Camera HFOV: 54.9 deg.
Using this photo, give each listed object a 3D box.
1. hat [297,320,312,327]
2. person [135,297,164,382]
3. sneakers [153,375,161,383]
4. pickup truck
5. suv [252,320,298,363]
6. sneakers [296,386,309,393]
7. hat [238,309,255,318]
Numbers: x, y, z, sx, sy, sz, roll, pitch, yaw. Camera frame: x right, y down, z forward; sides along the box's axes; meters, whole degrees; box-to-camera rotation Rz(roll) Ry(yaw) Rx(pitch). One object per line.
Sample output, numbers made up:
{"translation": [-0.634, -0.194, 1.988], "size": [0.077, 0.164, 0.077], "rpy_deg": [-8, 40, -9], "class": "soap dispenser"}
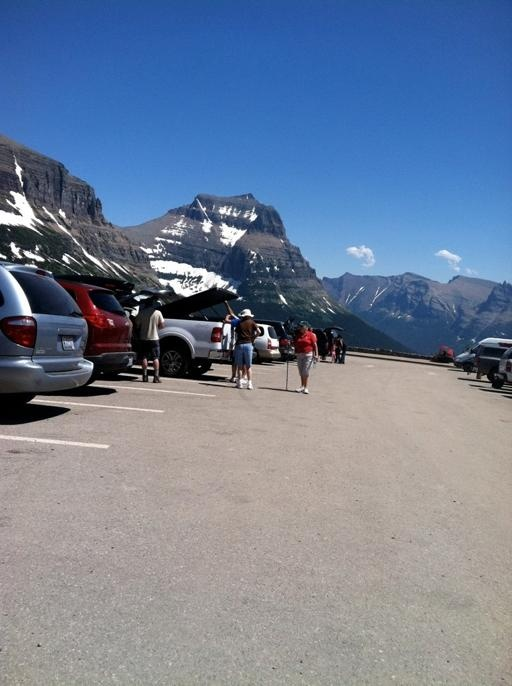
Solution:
{"translation": [1.618, -0.602, 16.149], "size": [0.273, 0.155, 0.492], "rpy_deg": [-1, -17, 31], "class": "hat"}
{"translation": [-2.996, -0.093, 13.834], "size": [0.862, 2.412, 1.177], "rpy_deg": [5, -1, -14], "class": "person"}
{"translation": [-2.710, 0.999, 13.633], "size": [0.105, 0.134, 0.313], "rpy_deg": [3, 6, 10], "class": "sneakers"}
{"translation": [-2.617, -0.324, 16.439], "size": [3.855, 2.254, 2.315], "rpy_deg": [4, 2, 16], "class": "pickup truck"}
{"translation": [0.867, -0.236, 32.018], "size": [3.641, 1.848, 1.861], "rpy_deg": [1, 2, 27], "class": "suv"}
{"translation": [1.428, 1.433, 14.982], "size": [0.162, 0.202, 0.438], "rpy_deg": [1, 4, -25], "class": "sneakers"}
{"translation": [-0.289, -0.904, 15.396], "size": [0.418, 0.202, 0.492], "rpy_deg": [3, 7, 9], "class": "hat"}
